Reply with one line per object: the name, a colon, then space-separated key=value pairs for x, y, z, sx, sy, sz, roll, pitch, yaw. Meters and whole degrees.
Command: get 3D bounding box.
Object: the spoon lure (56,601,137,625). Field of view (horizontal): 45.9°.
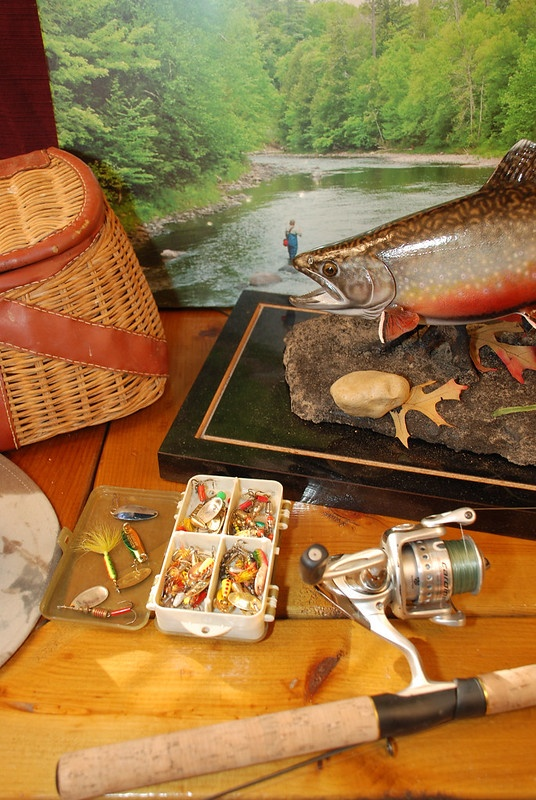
spoon lure: x=-0.194 y=0.238 z=0.712 sx=0.088 sy=0.015 sz=0.029 roll=7 pitch=74 yaw=7
